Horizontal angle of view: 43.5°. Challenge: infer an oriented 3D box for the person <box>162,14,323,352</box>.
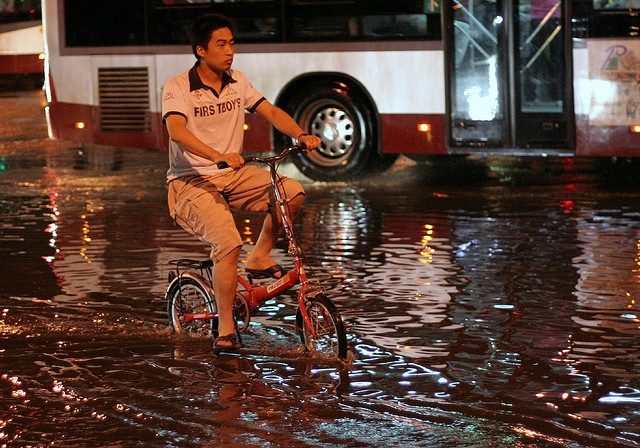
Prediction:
[{"bbox_3d":[-0.648,-0.314,6.131,1.071,2.523,0.823,0,3,-11],"label":"person"}]
